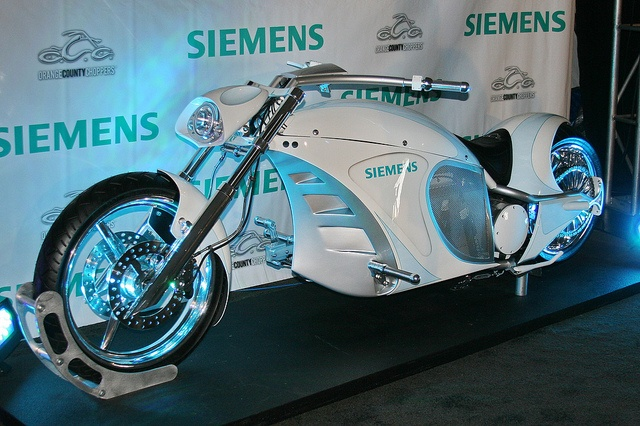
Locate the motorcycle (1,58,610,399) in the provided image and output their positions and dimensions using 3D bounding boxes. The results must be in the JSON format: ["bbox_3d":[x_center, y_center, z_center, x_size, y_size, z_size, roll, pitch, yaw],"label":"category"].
[{"bbox_3d":[0.109,-0.062,3.208,3.625,1.485,1.567,-14,21,-25],"label":"motorcycle"}]
